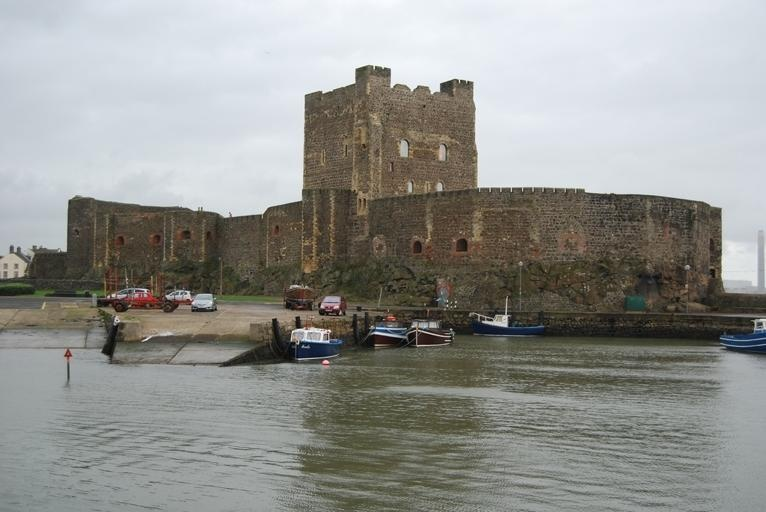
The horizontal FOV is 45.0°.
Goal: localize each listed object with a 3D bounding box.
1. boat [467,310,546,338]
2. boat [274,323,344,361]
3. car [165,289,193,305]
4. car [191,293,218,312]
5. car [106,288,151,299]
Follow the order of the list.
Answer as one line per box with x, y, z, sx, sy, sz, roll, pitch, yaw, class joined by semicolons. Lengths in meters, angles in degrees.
8.097;4.832;64.335;6.255;1.923;1.798;4;-5;-8;boat
-3.742;4.762;49.369;2.653;1.631;1.485;-2;9;-29;boat
-15.924;3.449;72.479;2.553;1.136;1.480;5;1;4;car
-11.941;3.232;62.026;1.589;0.931;2.368;1;7;-12;car
-18.112;2.715;65.553;2.874;0.808;1.273;2;1;-2;car
